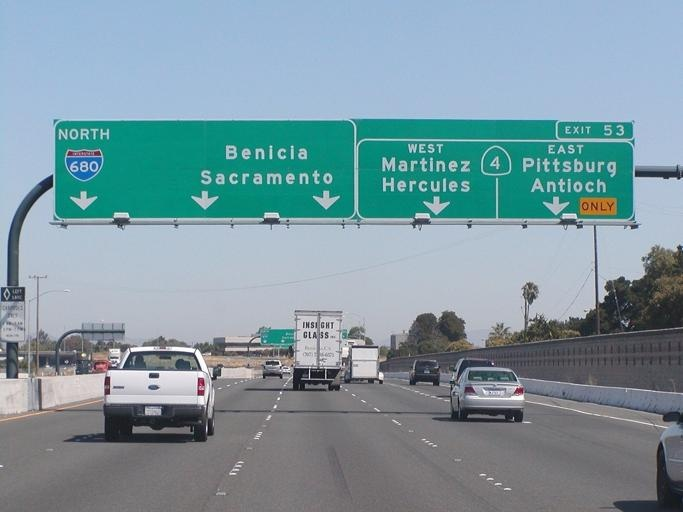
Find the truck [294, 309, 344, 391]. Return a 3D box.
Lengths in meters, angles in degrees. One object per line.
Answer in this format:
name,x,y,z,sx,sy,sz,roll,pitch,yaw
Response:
truck,-1.328,5.362,58.269,2.979,4.198,6.148,0,-5,0

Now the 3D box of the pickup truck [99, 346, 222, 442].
pickup truck,-4.828,3.595,27.823,2.263,2.322,4.679,1,0,0

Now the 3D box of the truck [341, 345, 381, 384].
truck,1.704,8.054,74.337,2.169,2.573,4.024,0,-5,-1
